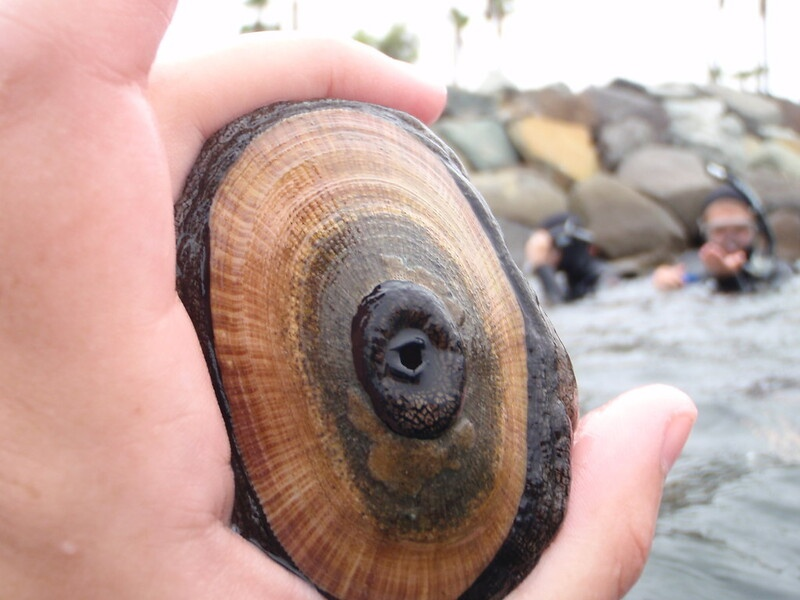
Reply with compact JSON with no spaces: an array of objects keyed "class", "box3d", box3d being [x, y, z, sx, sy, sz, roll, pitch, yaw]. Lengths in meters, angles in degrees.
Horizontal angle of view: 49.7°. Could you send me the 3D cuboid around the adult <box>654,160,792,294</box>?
[{"class":"adult","box3d":[1.682,-0.222,4.472,0.493,0.260,0.757,26,48,2]}]
